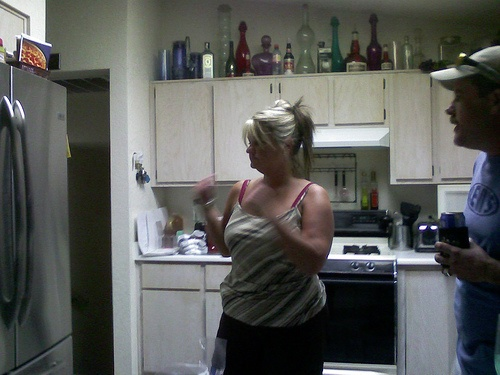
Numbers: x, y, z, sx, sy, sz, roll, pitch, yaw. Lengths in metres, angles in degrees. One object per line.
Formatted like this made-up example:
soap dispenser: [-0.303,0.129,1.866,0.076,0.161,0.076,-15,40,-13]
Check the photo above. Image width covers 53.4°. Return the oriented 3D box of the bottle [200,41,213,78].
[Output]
bottle: [-0.333,-0.981,3.924,0.101,0.290,0.223,-1,2,-4]

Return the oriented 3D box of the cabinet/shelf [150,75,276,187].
cabinet/shelf: [-0.280,-0.445,3.987,0.886,0.780,0.294,0,13,-2]

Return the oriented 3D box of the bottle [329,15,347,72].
bottle: [0.682,-1.101,3.891,0.103,0.446,0.259,-1,2,10]

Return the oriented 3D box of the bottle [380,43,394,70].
bottle: [1.039,-0.976,3.779,0.089,0.208,0.203,-1,3,15]

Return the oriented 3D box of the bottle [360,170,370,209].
bottle: [0.911,0.023,3.958,0.070,0.298,0.064,-1,2,0]

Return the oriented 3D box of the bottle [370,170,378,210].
bottle: [0.983,0.020,3.957,0.063,0.306,0.076,0,2,21]

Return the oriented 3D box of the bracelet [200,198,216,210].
bracelet: [-0.196,0.077,2.341,0.060,0.022,0.036,-34,4,8]

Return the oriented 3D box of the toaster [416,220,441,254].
toaster: [1.297,0.324,3.664,0.173,0.239,0.208,-1,20,19]

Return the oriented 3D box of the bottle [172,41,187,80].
bottle: [-0.552,-0.994,3.910,0.112,0.310,0.111,-1,2,0]

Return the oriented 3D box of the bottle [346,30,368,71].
bottle: [0.805,-1.025,3.788,0.166,0.332,0.202,0,3,30]

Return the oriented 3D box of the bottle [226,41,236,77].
bottle: [-0.151,-0.990,3.886,0.092,0.276,0.105,-1,2,15]

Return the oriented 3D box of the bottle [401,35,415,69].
bottle: [1.178,-0.996,3.728,0.079,0.267,0.182,0,2,19]

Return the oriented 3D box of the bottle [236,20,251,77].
bottle: [-0.053,-1.104,3.970,0.126,0.472,0.306,-1,2,0]

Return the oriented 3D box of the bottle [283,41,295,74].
bottle: [0.296,-0.973,3.808,0.081,0.248,0.116,-1,2,-4]

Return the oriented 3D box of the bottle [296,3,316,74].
bottle: [0.435,-1.136,3.862,0.143,0.555,0.235,0,2,22]

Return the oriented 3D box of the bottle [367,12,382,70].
bottle: [0.951,-1.122,3.829,0.112,0.481,0.207,-1,2,15]

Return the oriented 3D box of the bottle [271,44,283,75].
bottle: [0.223,-0.973,3.834,0.090,0.229,0.075,-2,2,-25]
